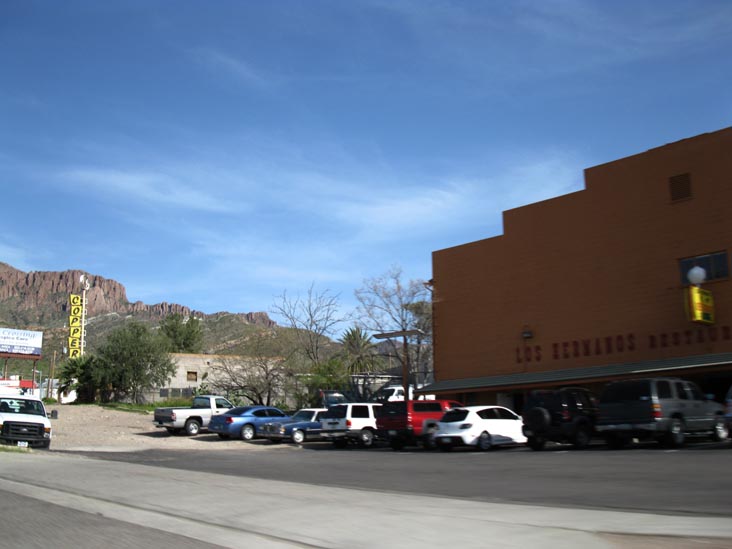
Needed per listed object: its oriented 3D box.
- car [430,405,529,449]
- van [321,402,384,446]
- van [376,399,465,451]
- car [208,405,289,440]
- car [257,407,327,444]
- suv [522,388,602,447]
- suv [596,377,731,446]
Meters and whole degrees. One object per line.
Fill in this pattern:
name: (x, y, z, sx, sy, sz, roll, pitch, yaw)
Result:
car: (4.517, 5.736, 28.077, 3.594, 1.100, 1.627, 6, -11, -39)
van: (-0.437, 6.400, 32.012, 2.737, 1.079, 1.488, 1, -6, -34)
van: (1.697, 5.979, 29.764, 3.142, 1.087, 1.699, 2, -7, -39)
car: (-5.618, 7.152, 35.406, 3.574, 1.090, 1.622, 1, -4, -30)
car: (-3.351, 7.051, 34.448, 2.996, 0.836, 1.569, 6, -13, -33)
suv: (7.076, 5.027, 26.514, 1.639, 1.486, 2.879, -6, -6, 43)
suv: (10.428, 4.607, 24.955, 5.311, 2.400, 1.976, 6, -16, -22)
